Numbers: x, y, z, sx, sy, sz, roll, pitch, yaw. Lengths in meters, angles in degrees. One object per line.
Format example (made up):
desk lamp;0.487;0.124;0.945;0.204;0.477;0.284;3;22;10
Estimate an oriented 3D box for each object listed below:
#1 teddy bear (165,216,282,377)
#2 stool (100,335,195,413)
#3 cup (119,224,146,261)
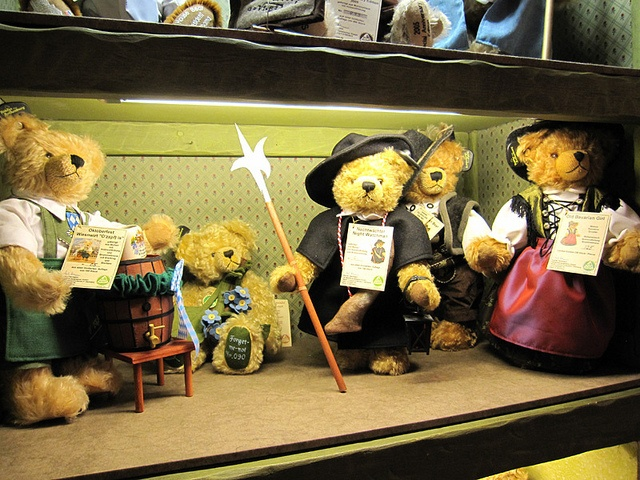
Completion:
teddy bear;-0.405;0.205;2.094;0.443;0.543;0.469;-4;5;-19
stool;-0.576;0.419;1.744;0.248;0.175;0.242;-3;0;-44
cup;-0.637;0.012;1.759;0.108;0.100;0.083;-5;5;34
